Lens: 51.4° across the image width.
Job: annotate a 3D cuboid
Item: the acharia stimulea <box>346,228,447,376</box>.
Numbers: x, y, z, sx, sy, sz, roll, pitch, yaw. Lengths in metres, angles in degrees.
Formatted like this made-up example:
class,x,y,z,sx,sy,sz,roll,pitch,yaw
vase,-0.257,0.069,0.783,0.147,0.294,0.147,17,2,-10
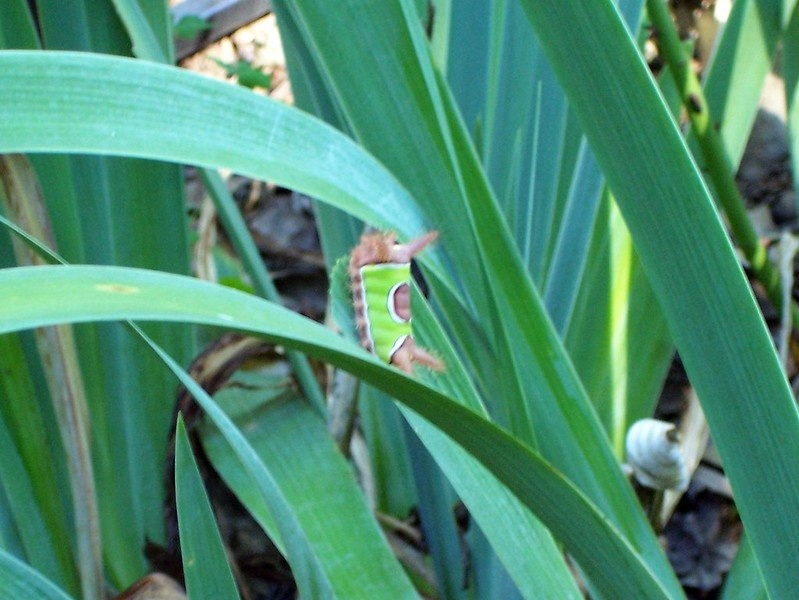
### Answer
class,x,y,z,sx,sy,sz,roll,pitch,yaw
acharia stimulea,-0.007,0.001,0.657,0.061,0.046,0.112,18,-37,-4
